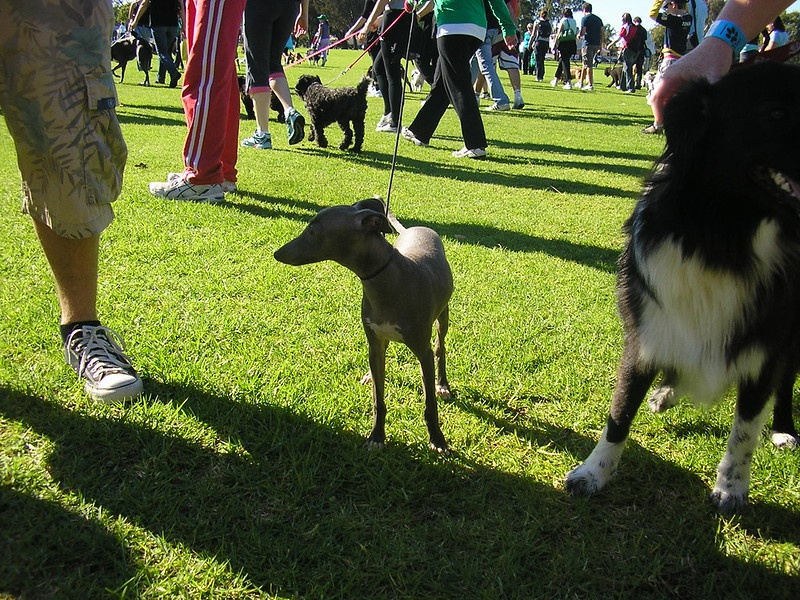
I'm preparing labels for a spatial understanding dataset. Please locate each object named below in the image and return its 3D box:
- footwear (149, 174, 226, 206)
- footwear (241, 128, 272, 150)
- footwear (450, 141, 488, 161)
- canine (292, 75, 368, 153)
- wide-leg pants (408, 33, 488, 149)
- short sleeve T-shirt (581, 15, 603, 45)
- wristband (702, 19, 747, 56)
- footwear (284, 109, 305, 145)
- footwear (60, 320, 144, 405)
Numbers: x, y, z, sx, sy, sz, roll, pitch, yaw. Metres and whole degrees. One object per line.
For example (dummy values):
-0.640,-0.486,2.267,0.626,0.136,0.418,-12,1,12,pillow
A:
-1.662,-0.873,5.688,0.619,0.319,0.242,7,8,-6,footwear
-1.664,-1.908,8.317,0.407,0.216,0.180,9,35,17,footwear
0.869,-1.868,8.889,0.449,0.231,0.182,3,11,1,footwear
-0.891,-2.464,9.210,0.629,0.906,1.437,-7,21,-30,canine
0.613,-2.547,8.786,0.967,1.373,1.510,3,18,-1,wide-leg pants
5.522,-7.728,20.312,0.593,0.867,1.018,6,18,12,short sleeve T-shirt
1.418,-1.169,3.100,0.137,0.078,0.143,21,17,-38,wristband
-1.192,-1.984,8.134,0.174,0.473,0.219,-19,55,-11,footwear
-1.365,0.290,3.242,0.212,0.237,0.524,-17,29,-28,footwear
